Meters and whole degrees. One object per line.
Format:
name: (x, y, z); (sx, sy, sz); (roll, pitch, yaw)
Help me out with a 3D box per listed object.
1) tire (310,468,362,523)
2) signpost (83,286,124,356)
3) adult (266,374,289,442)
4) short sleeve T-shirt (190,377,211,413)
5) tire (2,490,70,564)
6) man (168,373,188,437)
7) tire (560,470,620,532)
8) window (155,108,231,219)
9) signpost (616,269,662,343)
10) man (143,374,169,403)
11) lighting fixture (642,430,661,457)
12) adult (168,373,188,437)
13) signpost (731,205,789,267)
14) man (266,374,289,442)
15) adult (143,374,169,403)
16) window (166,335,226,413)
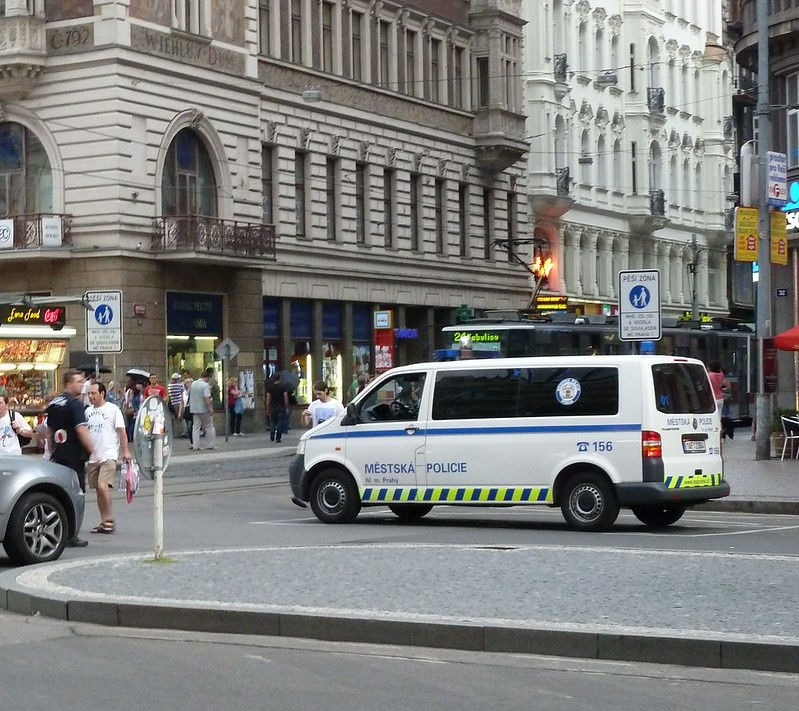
tire: (-0.782, 1.733, 18.588); (0.591, 0.690, 0.223); (-1, -4, 28)
signpost: (-5.244, -0.584, 26.881); (0.649, 1.119, 0.349); (2, 4, 6)
adult: (-3.118, 1.339, 38.419); (0.493, 1.743, 2.029); (1, 4, -5)
short sleeve T-shirt: (-4.607, 0.985, 35.059); (0.675, 0.821, 0.426); (4, 7, 32)
tire: (-3.574, 1.705, 14.861); (0.185, 0.661, 0.598); (7, 15, 34)
man: (-5.596, 1.281, 38.377); (0.496, 1.642, 1.723); (1, 5, -9)
tire: (2.121, 1.641, 17.109); (0.576, 0.666, 0.212); (-5, -9, 34)
window: (-5.631, -5.132, 40.684); (0.376, 3.644, 2.960); (4, 1, 26)
signpost: (3.427, -0.685, 21.911); (0.592, 1.190, 0.080); (-1, -27, 10)
man: (-4.938, 0.676, 30.593); (0.534, 0.982, 0.492); (-1, -6, -7)
lighting fixture: (2.758, 1.004, 16.787); (0.219, 0.292, 0.078); (1, 4, -18)
adult: (-5.598, 1.281, 38.377); (0.485, 1.642, 1.725); (1, 5, -8)
signpost: (6.492, -2.157, 27.509); (1.530, 0.939, 0.120); (1, -1, -43)
man: (-3.108, 1.344, 38.355); (0.508, 1.743, 1.899); (1, 4, -6)
adult: (-4.938, 0.676, 30.593); (0.534, 0.982, 0.492); (-1, -6, -7)
window: (-5.310, 0.521, 39.111); (0.991, 2.010, 1.907); (-1, 1, 31)
